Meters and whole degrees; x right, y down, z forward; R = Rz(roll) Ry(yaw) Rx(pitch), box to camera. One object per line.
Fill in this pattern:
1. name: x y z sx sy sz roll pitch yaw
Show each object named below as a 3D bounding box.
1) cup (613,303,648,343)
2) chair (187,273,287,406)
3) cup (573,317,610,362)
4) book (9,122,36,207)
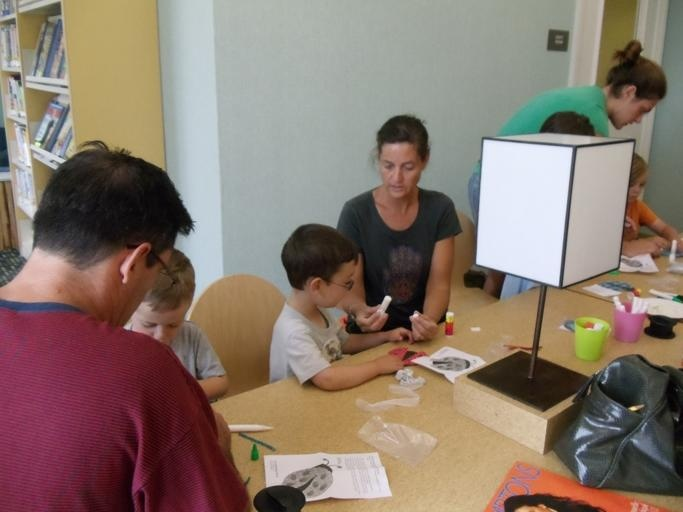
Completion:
1. cup: 0.993 0.238 1.985 0.103 0.109 0.102 4 14 -1
2. chair: -0.358 0.236 2.203 0.383 0.531 0.332 -22 37 -37
3. cup: 0.808 0.274 1.872 0.113 0.119 0.127 5 6 3
4. book: -2.250 -0.656 3.976 0.165 0.565 0.523 -8 15 -27
